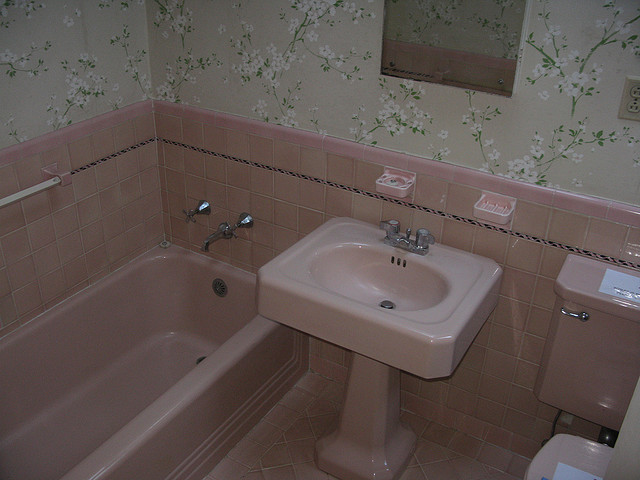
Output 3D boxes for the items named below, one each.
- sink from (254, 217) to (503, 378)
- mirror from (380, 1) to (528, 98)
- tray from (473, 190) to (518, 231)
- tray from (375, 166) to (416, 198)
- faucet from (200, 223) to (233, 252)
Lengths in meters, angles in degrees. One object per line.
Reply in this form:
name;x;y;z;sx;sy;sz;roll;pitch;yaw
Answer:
sink;0.269;0.219;1.935;0.869;0.293;0.728;17;32;25
mirror;0.479;-0.734;1.770;0.538;0.318;0.033;19;32;21
tray;0.699;-0.125;1.889;0.161;0.068;0.157;18;56;20
tray;0.320;-0.229;2.019;0.149;0.098;0.147;16;31;16
faucet;-0.543;-0.007;2.445;0.089;0.091;0.198;31;56;27
